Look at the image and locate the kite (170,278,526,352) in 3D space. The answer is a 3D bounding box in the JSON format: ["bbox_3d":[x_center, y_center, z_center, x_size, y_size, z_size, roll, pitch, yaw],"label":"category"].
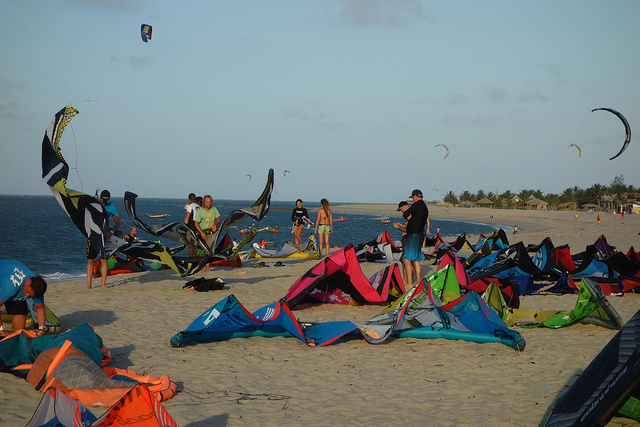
[{"bbox_3d":[0.579,1.681,10.937,5.299,0.918,0.768,1,14,-1],"label":"kite"}]

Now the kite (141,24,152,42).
[{"bbox_3d":[-4.354,-4.530,16.184,0.206,0.368,0.701,-4,15,-18],"label":"kite"}]

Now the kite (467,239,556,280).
[{"bbox_3d":[4.248,0.997,14.384,1.645,0.647,1.778,20,-13,-30],"label":"kite"}]

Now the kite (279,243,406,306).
[{"bbox_3d":[0.221,1.093,13.361,2.562,1.100,1.977,-5,20,29],"label":"kite"}]

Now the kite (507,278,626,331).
[{"bbox_3d":[4.259,1.543,11.712,2.128,1.009,0.711,-2,9,38],"label":"kite"}]

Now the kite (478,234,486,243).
[{"bbox_3d":[5.372,0.828,21.698,0.093,0.354,0.354,11,12,21],"label":"kite"}]

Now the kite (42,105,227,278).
[{"bbox_3d":[-3.919,-0.360,13.986,4.016,2.542,4.450,10,-8,-26],"label":"kite"}]

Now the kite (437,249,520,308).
[{"bbox_3d":[3.081,1.317,12.590,1.479,0.846,0.948,10,22,22],"label":"kite"}]

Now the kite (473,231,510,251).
[{"bbox_3d":[4.501,0.744,16.719,0.648,0.214,0.500,-8,15,-37],"label":"kite"}]
